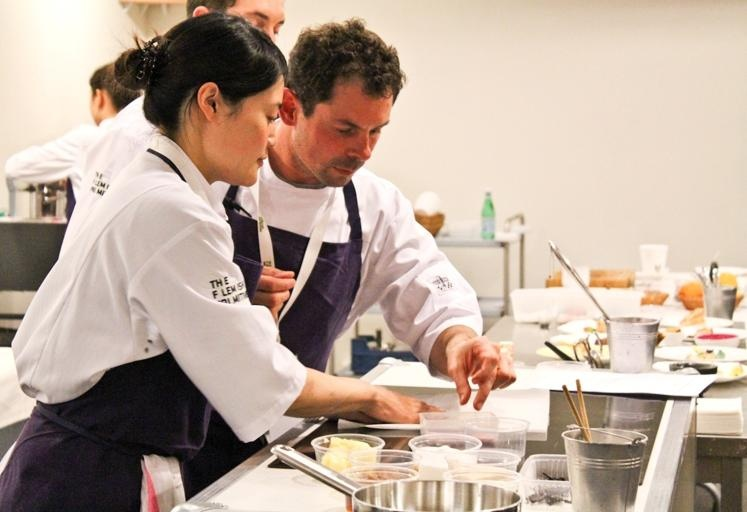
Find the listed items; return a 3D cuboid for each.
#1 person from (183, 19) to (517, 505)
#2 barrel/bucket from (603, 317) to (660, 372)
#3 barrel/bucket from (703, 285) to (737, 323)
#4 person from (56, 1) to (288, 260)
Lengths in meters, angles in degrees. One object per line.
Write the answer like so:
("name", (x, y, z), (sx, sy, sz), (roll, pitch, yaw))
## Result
("person", (0.027, -0.048, 2.289), (0.739, 1.609, 0.668), (-2, 17, -24))
("barrel/bucket", (0.802, 0.284, 2.442), (0.158, 0.145, 0.172), (0, -5, 0))
("barrel/bucket", (1.639, 0.230, 3.627), (0.168, 0.186, 0.175), (2, -7, 0))
("person", (-0.595, -0.328, 2.429), (0.606, 0.958, 0.631), (-6, 13, -16))
